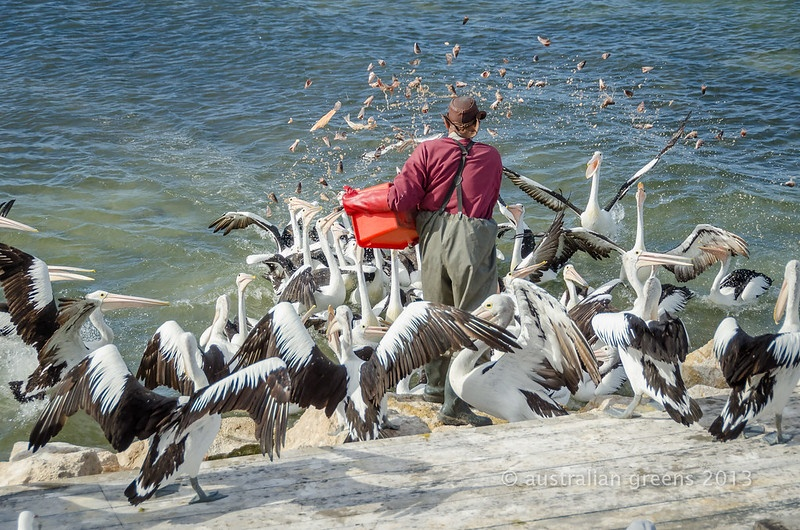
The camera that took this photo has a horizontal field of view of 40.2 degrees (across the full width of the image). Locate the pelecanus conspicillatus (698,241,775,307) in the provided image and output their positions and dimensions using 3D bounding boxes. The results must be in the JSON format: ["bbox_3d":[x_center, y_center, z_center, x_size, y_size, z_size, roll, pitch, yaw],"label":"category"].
[{"bbox_3d":[6.819,0.245,21.464,1.976,1.281,0.712,-10,7,-12],"label":"pelecanus conspicillatus"}]

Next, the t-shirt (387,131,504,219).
[{"bbox_3d":[0.802,-1.363,16.916,2.067,1.156,0.943,-2,12,-17],"label":"t-shirt"}]

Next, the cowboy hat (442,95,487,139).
[{"bbox_3d":[0.929,-2.342,16.715,0.686,0.439,0.823,9,39,7],"label":"cowboy hat"}]
